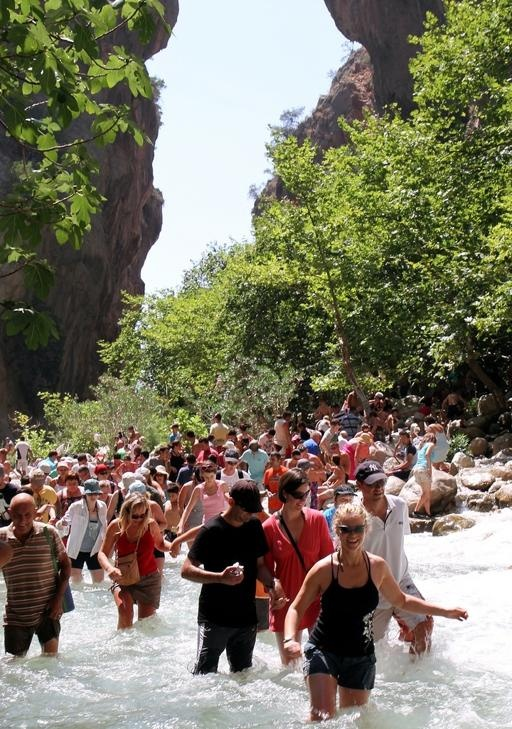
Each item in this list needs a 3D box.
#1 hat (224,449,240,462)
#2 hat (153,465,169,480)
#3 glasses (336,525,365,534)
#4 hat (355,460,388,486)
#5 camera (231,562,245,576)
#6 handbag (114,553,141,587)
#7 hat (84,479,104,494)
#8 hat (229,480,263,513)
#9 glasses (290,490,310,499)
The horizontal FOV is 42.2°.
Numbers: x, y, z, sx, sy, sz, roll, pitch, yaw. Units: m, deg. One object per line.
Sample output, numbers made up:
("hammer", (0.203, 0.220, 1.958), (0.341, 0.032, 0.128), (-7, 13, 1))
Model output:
("hat", (-0.368, 1.374, 10.043), (0.159, 0.160, 0.204), (4, -14, -8))
("hat", (-1.494, 1.702, 10.554), (0.252, 0.101, 0.264), (4, -25, 21))
("glasses", (0.512, 0.889, 3.592), (0.143, 0.047, 0.049), (-2, -12, 5))
("hat", (0.811, 0.776, 4.777), (0.159, 0.116, 0.203), (-1, -20, -4))
("camera", (-0.111, 1.212, 3.941), (0.080, 0.072, 0.078), (1, -12, -2))
("handbag", (-1.136, 1.812, 5.881), (0.243, 0.245, 0.098), (-29, -2, 2))
("hat", (-2.115, 1.587, 8.661), (0.188, 0.096, 0.194), (0, -1, 31))
("hat", (-0.070, 0.829, 4.173), (0.197, 0.208, 0.223), (-1, -12, -1))
("glasses", (0.320, 0.900, 4.579), (0.095, 0.082, 0.207), (-8, -14, 30))
